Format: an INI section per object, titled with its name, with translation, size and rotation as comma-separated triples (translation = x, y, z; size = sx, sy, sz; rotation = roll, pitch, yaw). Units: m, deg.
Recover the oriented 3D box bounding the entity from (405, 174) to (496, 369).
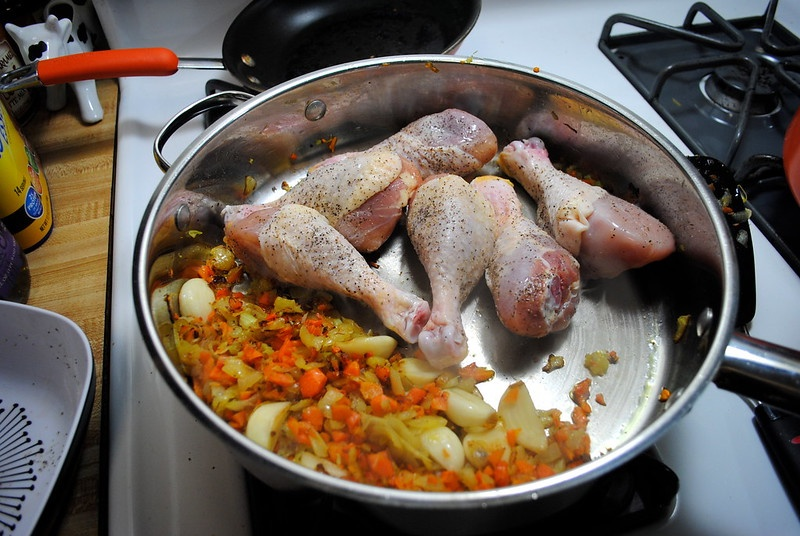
[entity]
translation = 0.148, -0.003, 2.061
size = 0.220, 0.137, 0.555
rotation = 2, 73, -4
